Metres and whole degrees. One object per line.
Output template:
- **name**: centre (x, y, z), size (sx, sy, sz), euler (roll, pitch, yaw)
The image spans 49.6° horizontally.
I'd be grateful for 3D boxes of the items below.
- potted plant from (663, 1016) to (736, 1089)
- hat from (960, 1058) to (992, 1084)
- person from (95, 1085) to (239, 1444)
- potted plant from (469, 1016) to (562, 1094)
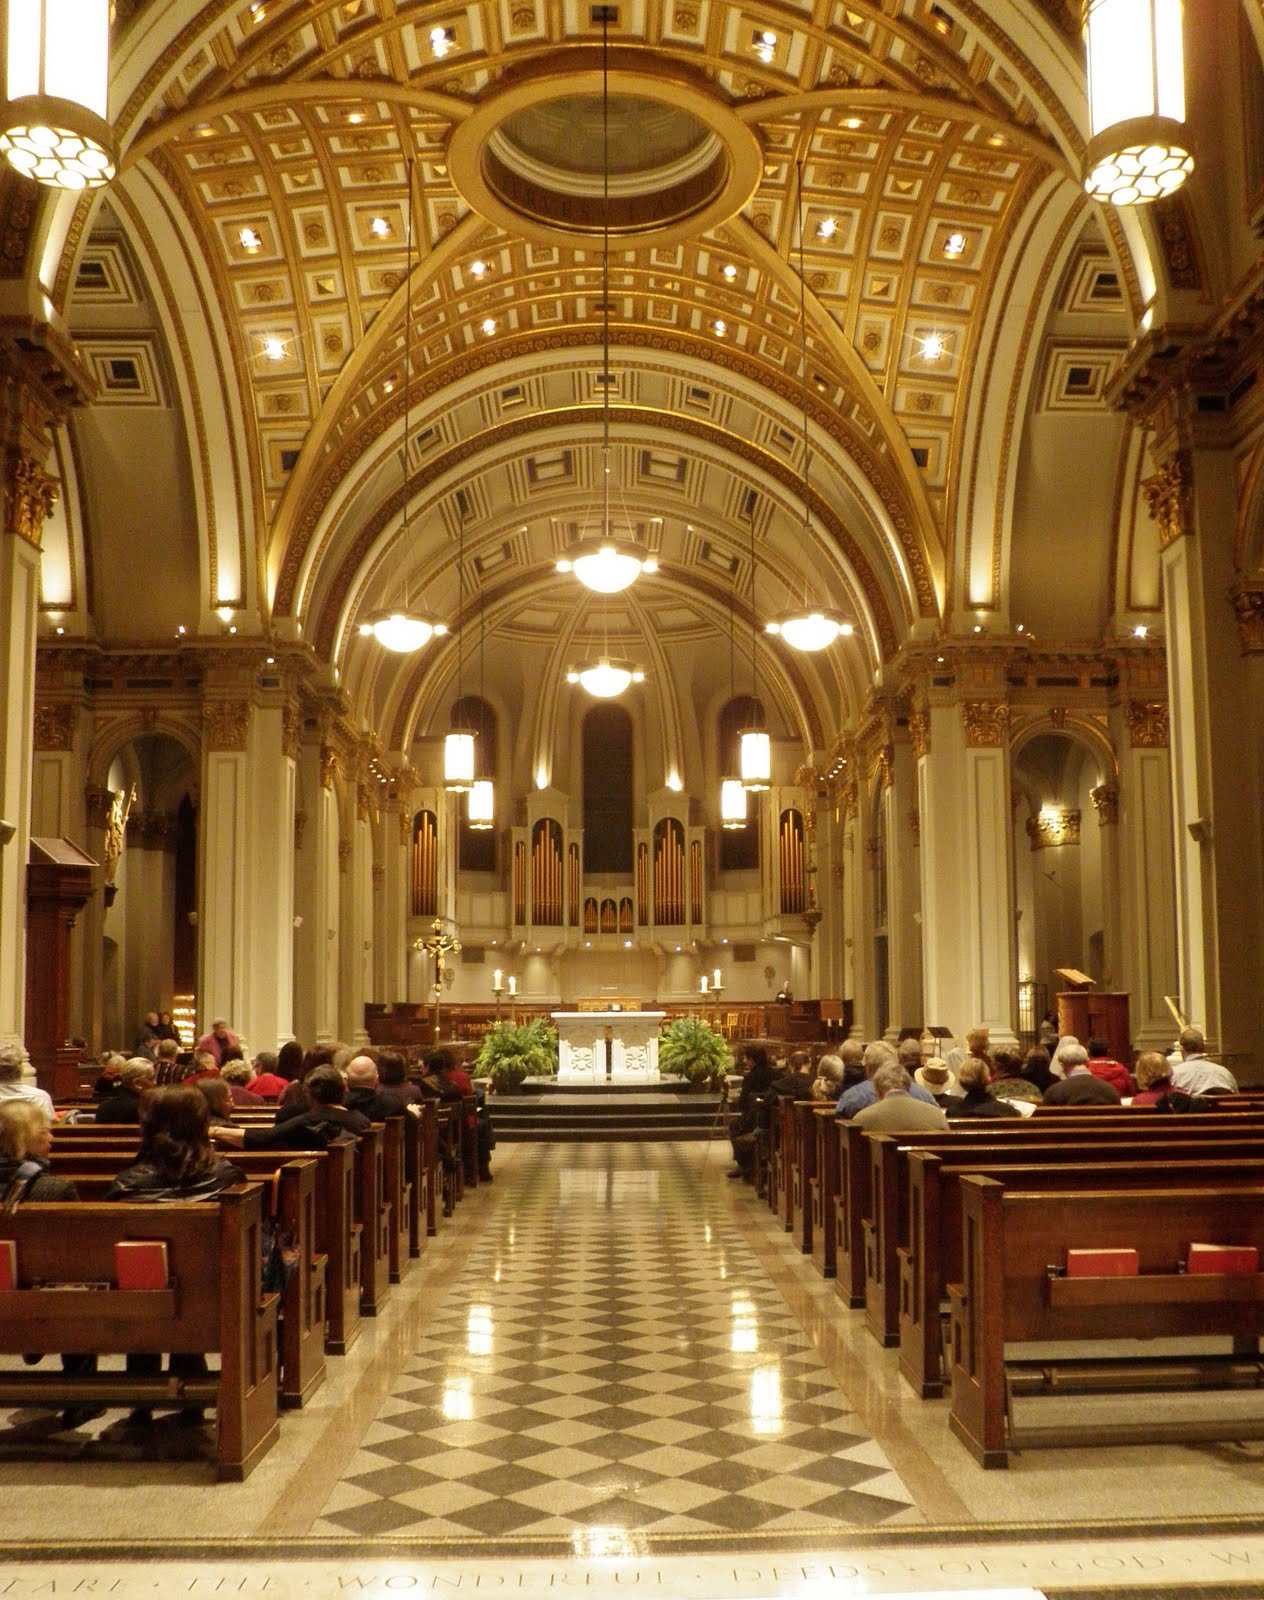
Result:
- **potted plant**: centre (0.779, 3.363, 18.113), size (1.013, 1.013, 1.011), euler (-2, 1, 11)
- **hat**: centre (1.728, 1.391, 6.966), size (0.127, 0.130, 0.189), euler (3, -23, 4)
- **person**: centre (-1.524, 1.514, 4.495), size (0.379, 1.119, 1.101), euler (3, -12, -17)
- **potted plant**: centre (-1.556, 3.462, 18.493), size (1.166, 1.042, 1.161), euler (1, -11, -8)
